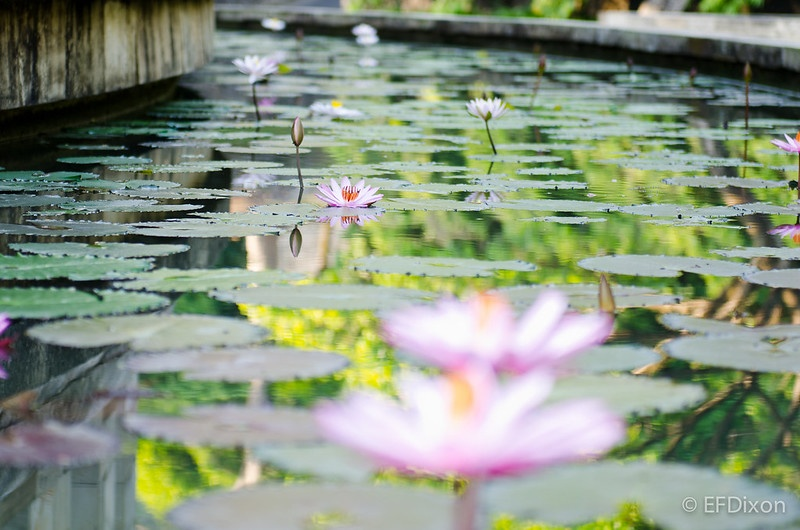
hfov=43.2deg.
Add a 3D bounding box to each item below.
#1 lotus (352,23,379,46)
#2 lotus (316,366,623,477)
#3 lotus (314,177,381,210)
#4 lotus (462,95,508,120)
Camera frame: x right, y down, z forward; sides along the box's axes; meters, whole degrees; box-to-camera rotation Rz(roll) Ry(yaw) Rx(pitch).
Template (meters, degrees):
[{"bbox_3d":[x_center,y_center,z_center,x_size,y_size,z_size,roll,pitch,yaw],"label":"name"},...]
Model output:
[{"bbox_3d":[-0.334,-2.282,10.140,0.329,0.101,0.523,1,19,-5],"label":"lotus"},{"bbox_3d":[0.055,0.193,1.280,0.334,0.099,0.326,3,9,14],"label":"lotus"},{"bbox_3d":[-0.135,-0.199,2.721,0.147,0.038,0.124,-1,14,-2],"label":"lotus"},{"bbox_3d":[0.254,-0.529,3.418,0.188,0.058,0.146,-2,2,25],"label":"lotus"}]
